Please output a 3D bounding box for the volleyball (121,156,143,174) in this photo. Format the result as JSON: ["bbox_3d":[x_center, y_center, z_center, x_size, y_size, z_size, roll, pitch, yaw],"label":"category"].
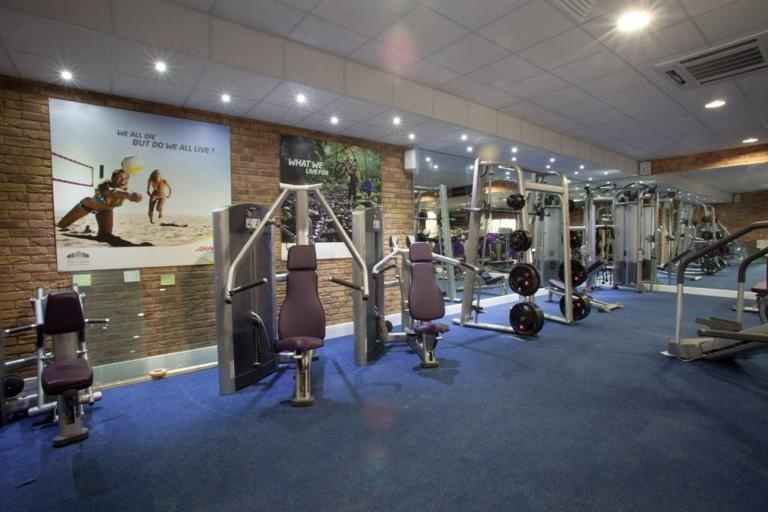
[{"bbox_3d":[-2.920,-1.054,5.191,0.214,0.156,0.162,-2,7,-18],"label":"volleyball"}]

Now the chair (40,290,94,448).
[{"bbox_3d":[-3.005,1.014,4.210,0.376,1.341,0.772,-7,9,-36],"label":"chair"}]

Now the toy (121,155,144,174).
[{"bbox_3d":[-2.923,-1.053,5.190,0.216,0.157,0.163,-1,7,-14],"label":"toy"}]

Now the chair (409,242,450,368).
[{"bbox_3d":[0.534,0.552,5.496,0.433,1.414,0.752,-2,8,3],"label":"chair"}]
